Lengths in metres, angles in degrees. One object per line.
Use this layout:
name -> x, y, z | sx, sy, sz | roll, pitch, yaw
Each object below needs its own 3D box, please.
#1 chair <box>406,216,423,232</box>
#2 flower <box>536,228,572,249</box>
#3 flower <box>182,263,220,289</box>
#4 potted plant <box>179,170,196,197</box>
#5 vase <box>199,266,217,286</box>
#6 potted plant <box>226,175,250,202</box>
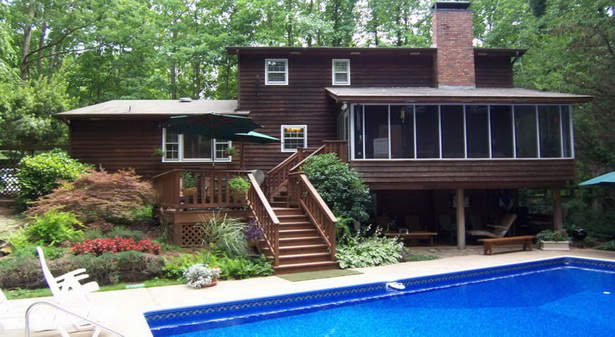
chair -> 6.513, 3.407, 31.229 | 0.915, 0.911, 0.709 | -2, 5, 4
flower -> 14.297, 4.136, 29.695 | 1.486, 0.785, 1.359 | 0, -4, 1
flower -> -5.126, 5.177, 24.334 | 1.675, 1.044, 0.855 | -4, 5, -15
potted plant -> -6.431, 0.837, 27.046 | 1.442, 1.540, 1.249 | 1, -3, -17
vase -> -4.854, 5.325, 24.582 | 0.891, 0.739, 0.766 | 2, -11, -19
potted plant -> -3.769, 1.070, 27.530 | 1.403, 1.262, 1.368 | -3, -2, 10
